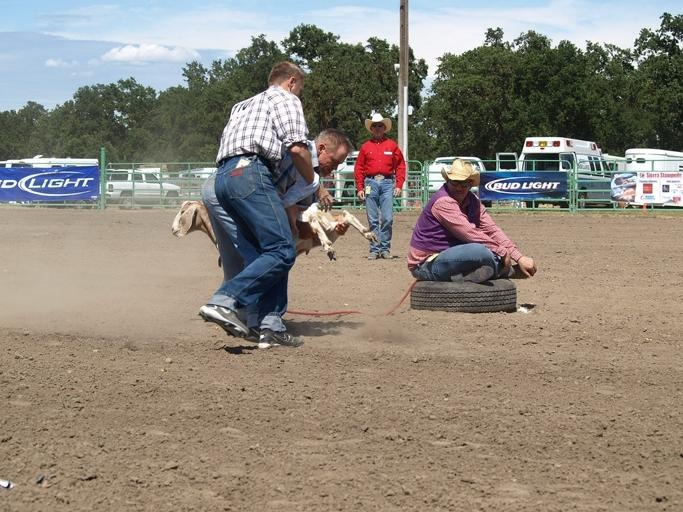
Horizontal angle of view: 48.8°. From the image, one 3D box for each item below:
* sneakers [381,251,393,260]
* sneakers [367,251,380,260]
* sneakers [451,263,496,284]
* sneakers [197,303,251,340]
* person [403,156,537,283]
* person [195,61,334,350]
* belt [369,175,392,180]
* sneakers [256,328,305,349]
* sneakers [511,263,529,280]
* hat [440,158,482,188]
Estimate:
[{"bbox_3d":[0.669,-0.009,11.244,0.076,0.086,0.213,10,-12,-24],"label":"sneakers"},{"bbox_3d":[0.473,-0.004,11.245,0.124,0.102,0.251,0,-4,10],"label":"sneakers"},{"bbox_3d":[1.239,0.183,7.048,0.235,0.067,0.226,-13,4,-28],"label":"sneakers"},{"bbox_3d":[-0.839,0.439,5.346,0.404,0.179,0.145,35,-39,-31],"label":"sneakers"},{"bbox_3d":[1.288,-0.286,7.233,1.332,1.079,1.108,0,8,-6],"label":"person"},{"bbox_3d":[-0.598,-0.334,5.524,0.745,2.140,1.001,5,14,9],"label":"person"},{"bbox_3d":[0.586,-1.189,11.242,0.311,0.082,0.109,2,13,-1],"label":"belt"},{"bbox_3d":[-0.472,0.623,5.718,0.368,0.140,0.130,-1,2,-44],"label":"sneakers"},{"bbox_3d":[1.730,0.171,7.338,0.117,0.167,0.073,-21,-34,16],"label":"sneakers"},{"bbox_3d":[1.141,-0.802,6.971,0.311,0.152,0.375,11,-17,14],"label":"hat"}]
